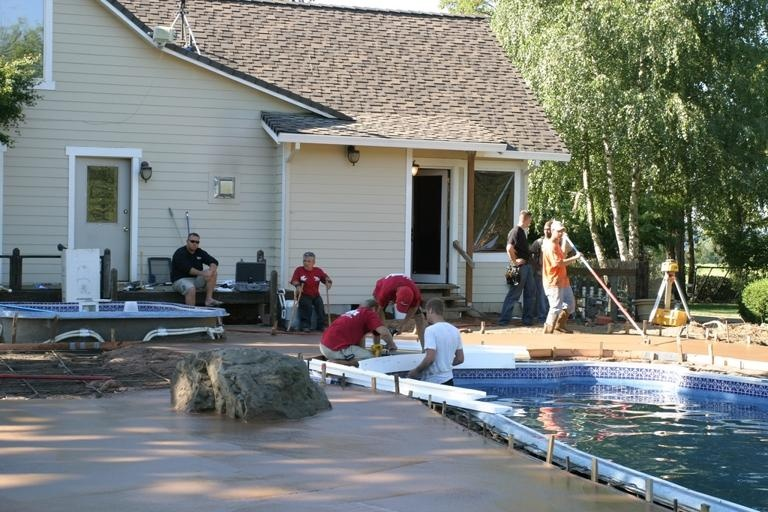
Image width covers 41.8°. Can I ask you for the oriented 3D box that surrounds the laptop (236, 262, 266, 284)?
[{"bbox_3d":[-2.776,0.356,21.056,0.796,0.547,0.399,0,6,-10],"label":"laptop"}]

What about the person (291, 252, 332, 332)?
[{"bbox_3d":[-1.536,0.728,20.425,0.770,1.602,0.546,1,0,-17],"label":"person"}]

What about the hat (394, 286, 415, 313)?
[{"bbox_3d":[0.347,0.734,17.200,0.314,0.441,0.244,-2,5,-10],"label":"hat"}]

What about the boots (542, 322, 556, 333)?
[{"bbox_3d":[3.275,1.439,20.088,0.194,0.216,0.207,2,4,38],"label":"boots"}]

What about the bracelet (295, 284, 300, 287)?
[{"bbox_3d":[-1.710,0.589,20.171,0.078,0.056,0.074,-1,-2,-4],"label":"bracelet"}]

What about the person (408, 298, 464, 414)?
[{"bbox_3d":[0.821,1.373,15.882,0.650,1.557,0.972,1,0,27],"label":"person"}]

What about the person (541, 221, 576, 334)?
[{"bbox_3d":[3.453,0.414,19.946,0.641,2.225,1.313,1,0,10],"label":"person"}]

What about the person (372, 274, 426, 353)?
[{"bbox_3d":[0.243,1.075,17.931,0.795,1.009,1.515,-11,-11,3],"label":"person"}]

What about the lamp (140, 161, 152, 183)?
[{"bbox_3d":[-5.089,-1.806,21.529,0.267,0.446,0.139,1,0,-13],"label":"lamp"}]

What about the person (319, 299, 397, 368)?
[{"bbox_3d":[-0.393,1.287,16.699,1.070,1.180,1.209,-3,-11,43],"label":"person"}]

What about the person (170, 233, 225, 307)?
[{"bbox_3d":[-3.808,0.268,20.473,0.889,1.468,0.749,1,0,-26],"label":"person"}]

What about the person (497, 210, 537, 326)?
[{"bbox_3d":[2.913,0.260,21.486,0.830,2.451,0.613,1,0,-21],"label":"person"}]

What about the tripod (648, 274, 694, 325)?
[{"bbox_3d":[5.962,0.930,21.280,1.082,1.429,1.077,1,0,20],"label":"tripod"}]

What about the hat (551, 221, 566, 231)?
[{"bbox_3d":[3.414,-0.601,19.916,0.235,0.192,0.480,1,0,9],"label":"hat"}]

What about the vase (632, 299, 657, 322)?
[{"bbox_3d":[5.765,1.227,22.435,0.459,0.521,0.526,-1,1,2],"label":"vase"}]

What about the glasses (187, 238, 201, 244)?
[{"bbox_3d":[-3.907,-0.290,20.480,0.222,0.106,0.171,1,0,2],"label":"glasses"}]

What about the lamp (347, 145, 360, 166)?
[{"bbox_3d":[-0.690,-2.212,21.837,0.347,0.472,0.328,0,1,-16],"label":"lamp"}]
